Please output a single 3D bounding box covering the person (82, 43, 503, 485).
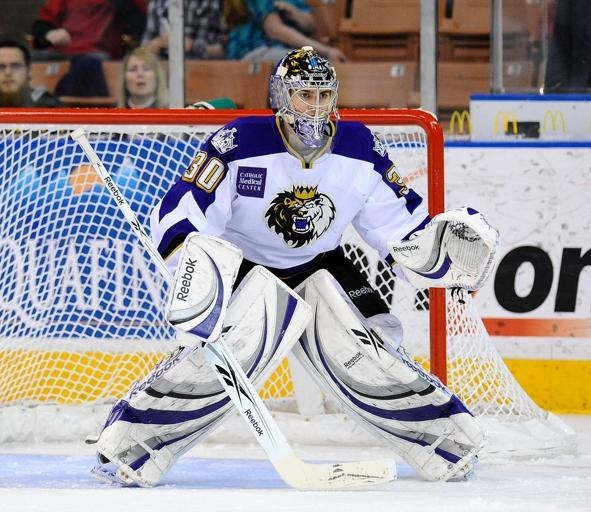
[{"bbox_3d":[0.011,0.059,3.223,1.338,1.301,0.898,1,11,-5],"label":"person"}]

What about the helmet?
[{"bbox_3d":[0.052,-0.471,3.127,0.198,0.236,0.263,1,-1,-4],"label":"helmet"}]

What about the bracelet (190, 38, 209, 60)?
[{"bbox_3d":[-0.609,-1.323,6.371,0.121,0.129,0.129,4,-30,-7],"label":"bracelet"}]
